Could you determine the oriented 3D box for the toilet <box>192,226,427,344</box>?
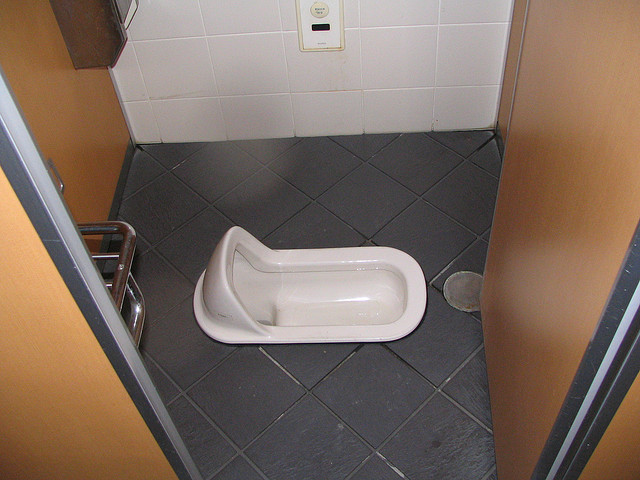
[{"bbox_3d":[-0.012,0.239,2.177,0.905,0.419,0.509,-4,50,4],"label":"toilet"}]
